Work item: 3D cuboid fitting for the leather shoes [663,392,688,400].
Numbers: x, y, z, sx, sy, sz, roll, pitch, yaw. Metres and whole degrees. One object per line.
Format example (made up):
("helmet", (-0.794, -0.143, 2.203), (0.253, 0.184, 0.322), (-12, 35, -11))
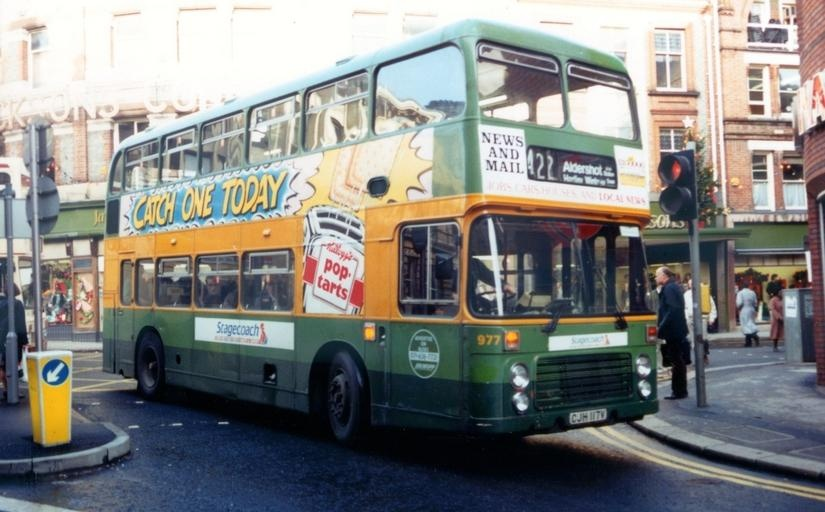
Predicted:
("leather shoes", (6.019, 3.228, 20.166), (0.554, 0.231, 0.194), (3, -10, -4))

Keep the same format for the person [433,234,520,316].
("person", (1.225, 0.342, 15.998), (1.243, 1.958, 0.642), (-3, -10, -19))

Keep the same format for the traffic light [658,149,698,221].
("traffic light", (5.754, -1.504, 19.094), (0.849, 1.548, 0.640), (3, 14, 15))

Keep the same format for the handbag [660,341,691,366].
("handbag", (5.967, 2.257, 20.410), (0.747, 0.756, 0.586), (-4, -2, 38))
